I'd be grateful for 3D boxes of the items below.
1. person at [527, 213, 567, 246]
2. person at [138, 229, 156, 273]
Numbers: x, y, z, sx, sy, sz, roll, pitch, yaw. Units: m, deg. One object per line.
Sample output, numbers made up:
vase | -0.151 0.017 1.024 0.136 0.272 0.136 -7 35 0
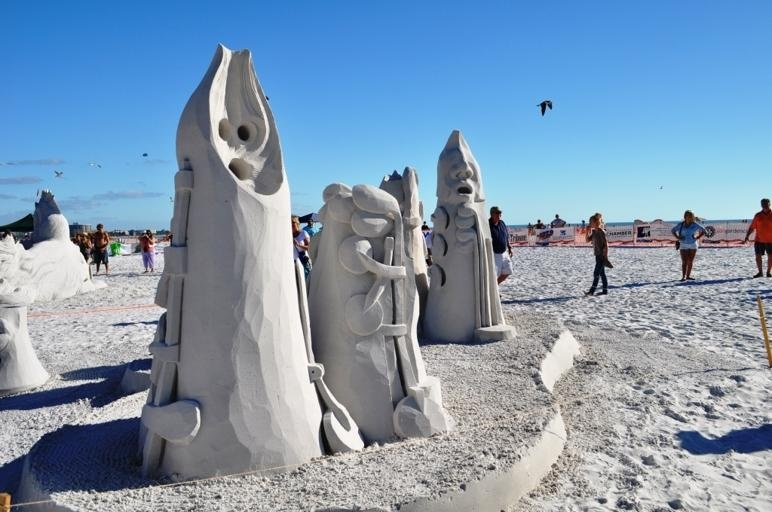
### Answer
person | 9.126 -1.161 25.312 0.637 1.236 2.860 -8 15 -28
person | -7.327 -0.130 13.817 0.326 1.515 1.324 -9 15 -29
